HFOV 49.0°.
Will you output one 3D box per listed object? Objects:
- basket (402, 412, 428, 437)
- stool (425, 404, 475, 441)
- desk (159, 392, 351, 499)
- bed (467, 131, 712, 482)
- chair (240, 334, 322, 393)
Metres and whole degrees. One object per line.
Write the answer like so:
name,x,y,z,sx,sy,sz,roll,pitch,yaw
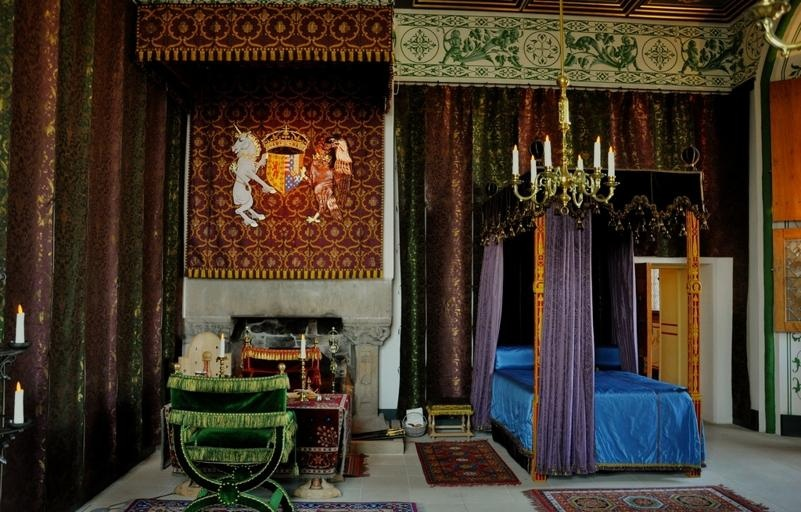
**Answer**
basket,0.196,2.463,12.978,0.329,0.362,0.331,0,-9,-3
stool,0.715,2.456,13.146,0.605,0.486,0.462,0,-7,-3
desk,-1.432,2.313,11.255,1.449,0.956,1.494,0,-2,-6
bed,2.523,0.584,11.998,2.703,4.292,2.550,-2,12,-8
chair,-1.626,1.463,12.221,0.928,0.703,0.685,2,-1,6
